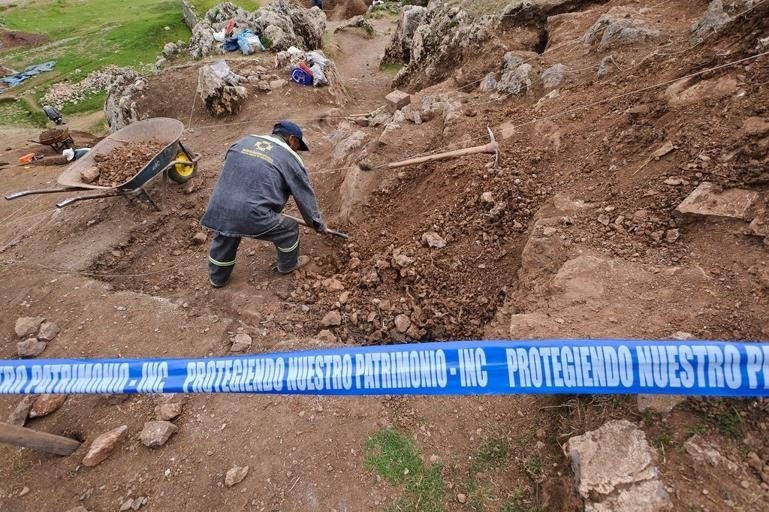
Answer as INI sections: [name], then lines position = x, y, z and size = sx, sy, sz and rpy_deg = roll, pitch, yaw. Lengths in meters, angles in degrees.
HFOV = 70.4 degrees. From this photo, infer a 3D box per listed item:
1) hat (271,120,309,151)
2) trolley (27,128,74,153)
[hat]
position = -1.324, -1.817, 8.228
size = 0.414, 0.597, 0.311
rpy_deg = 37, 103, 51
[trolley]
position = -8.133, -2.765, 13.369
size = 0.777, 0.376, 0.623
rpy_deg = -1, 54, -11
